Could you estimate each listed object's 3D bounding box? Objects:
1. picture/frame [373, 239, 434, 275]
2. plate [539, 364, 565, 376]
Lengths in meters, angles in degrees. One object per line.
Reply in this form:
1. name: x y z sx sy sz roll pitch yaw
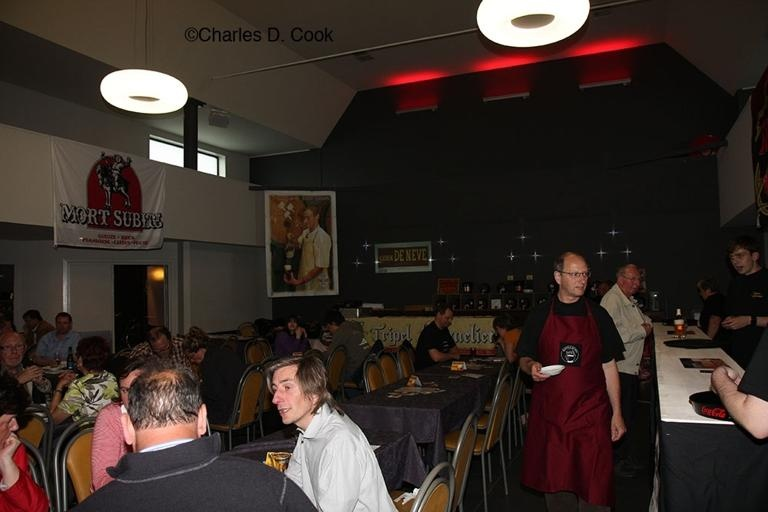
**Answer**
1. picture/frame: 0.455 0.041 13.054 1.331 0.810 0.193 -2 -29 2
2. plate: 1.525 1.038 4.966 0.215 0.078 0.142 -5 -4 19
